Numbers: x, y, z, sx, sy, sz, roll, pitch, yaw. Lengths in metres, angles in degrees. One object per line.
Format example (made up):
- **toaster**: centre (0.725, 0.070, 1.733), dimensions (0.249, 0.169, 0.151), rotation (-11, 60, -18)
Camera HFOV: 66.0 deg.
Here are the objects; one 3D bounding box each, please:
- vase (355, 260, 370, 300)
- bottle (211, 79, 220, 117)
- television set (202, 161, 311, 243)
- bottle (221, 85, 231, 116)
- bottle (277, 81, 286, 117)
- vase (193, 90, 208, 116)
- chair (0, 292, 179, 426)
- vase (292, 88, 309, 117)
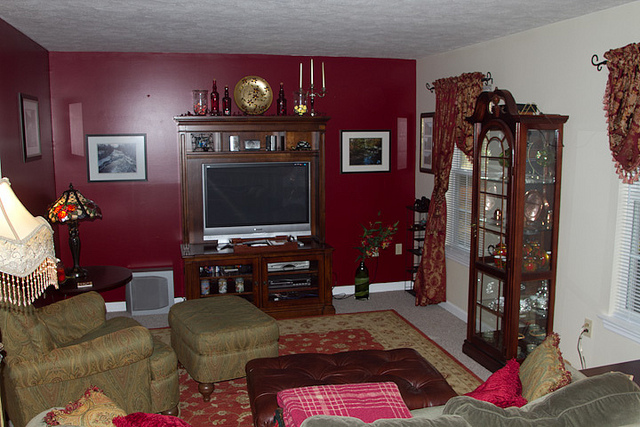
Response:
- **vase**: centre (0.548, 0.893, 6.533), dimensions (0.181, 0.525, 0.101), rotation (-6, 11, -12)
- **bottle**: centre (-1.293, -1.412, 6.002), dimensions (0.119, 0.473, 0.399), rotation (-6, 10, -11)
- **television set**: centre (-0.807, -0.177, 6.339), dimensions (1.508, 0.990, 0.190), rotation (0, 8, -16)
- **bottle**: centre (-1.166, -1.388, 6.029), dimensions (0.130, 0.396, 0.411), rotation (-6, 10, -10)
- **bottle**: centre (-0.487, -1.406, 6.069), dimensions (0.116, 0.386, 0.113), rotation (-4, 10, 1)
- **vase**: centre (-1.442, -1.323, 5.903), dimensions (0.168, 0.309, 0.230), rotation (-6, 11, -15)
- **chair**: centre (-1.770, 1.113, 3.697), dimensions (1.101, 1.151, 1.025), rotation (-5, 14, -37)
- **vase**: centre (-0.251, -1.401, 6.198), dimensions (0.207, 0.382, 0.458), rotation (-4, 10, -2)
